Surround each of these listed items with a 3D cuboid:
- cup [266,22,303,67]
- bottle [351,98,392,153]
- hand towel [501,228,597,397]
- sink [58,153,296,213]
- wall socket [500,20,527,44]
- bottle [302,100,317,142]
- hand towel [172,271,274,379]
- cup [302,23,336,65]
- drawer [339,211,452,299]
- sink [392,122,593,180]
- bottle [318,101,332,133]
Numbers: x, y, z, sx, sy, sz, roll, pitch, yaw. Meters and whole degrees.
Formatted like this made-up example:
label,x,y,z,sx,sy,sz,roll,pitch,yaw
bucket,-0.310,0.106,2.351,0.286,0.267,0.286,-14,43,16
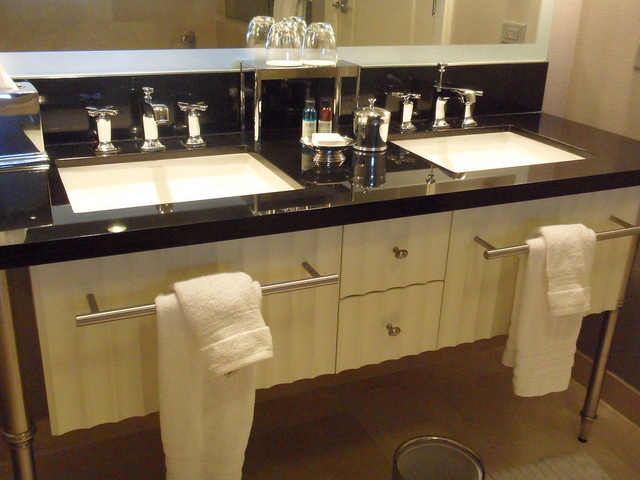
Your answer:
label,x,y,z,sx,sy,sz,roll,pitch,yaw
cup,-0.113,-0.659,1.739,0.130,0.130,0.127,3,7,0
bottle,0.181,-0.373,1.683,0.124,0.147,0.136,11,19,29
hand towel,0.689,0.215,1.542,0.337,0.607,0.137,-6,23,-20
sink,-0.492,-0.324,1.663,0.600,0.222,0.587,-7,26,-19
wall socket,0.786,-0.853,2.075,0.088,0.091,0.015,-2,33,-4
bottle,-0.036,-0.397,1.693,0.048,0.118,0.116,-3,26,-2
hand towel,-0.210,0.184,1.136,0.201,0.236,0.088,-17,-5,-24
cup,-0.018,-0.675,1.759,0.121,0.123,0.130,2,32,-1
drawer,0.162,0.000,1.489,0.312,0.239,0.267,-7,27,-27
sink,0.614,-0.344,1.905,0.666,0.122,0.310,2,26,9
bottle,0.017,-0.418,1.746,0.050,0.095,0.106,-2,26,1
